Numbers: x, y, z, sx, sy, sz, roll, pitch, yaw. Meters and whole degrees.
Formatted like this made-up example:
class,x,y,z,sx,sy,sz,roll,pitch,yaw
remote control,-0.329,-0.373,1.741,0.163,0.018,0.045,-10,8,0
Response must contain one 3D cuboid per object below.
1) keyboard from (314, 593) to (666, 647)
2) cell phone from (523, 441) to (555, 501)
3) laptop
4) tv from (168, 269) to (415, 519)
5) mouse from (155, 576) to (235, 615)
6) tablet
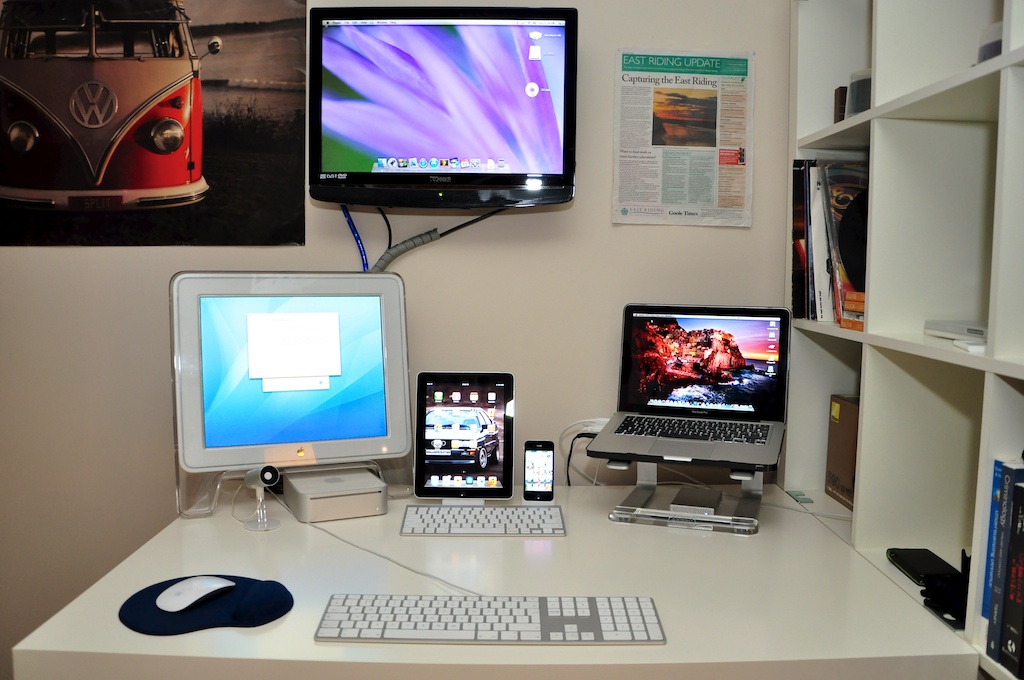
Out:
class,x,y,z,sx,sy,sz,roll,pitch,yaw
keyboard,-0.045,0.600,1.657,0.722,0.065,0.099,0,6,0
cell phone,0.076,0.367,2.155,0.095,0.166,0.018,-3,-12,20
laptop,0.488,0.123,2.123,0.493,0.417,0.358,2,7,20
tv,-0.609,0.099,2.071,0.633,0.656,0.272,-2,7,-27
mouse,-0.694,0.544,1.703,0.074,0.027,0.116,14,15,41
tablet,-0.137,0.265,2.140,0.292,0.340,0.023,3,-10,-21
